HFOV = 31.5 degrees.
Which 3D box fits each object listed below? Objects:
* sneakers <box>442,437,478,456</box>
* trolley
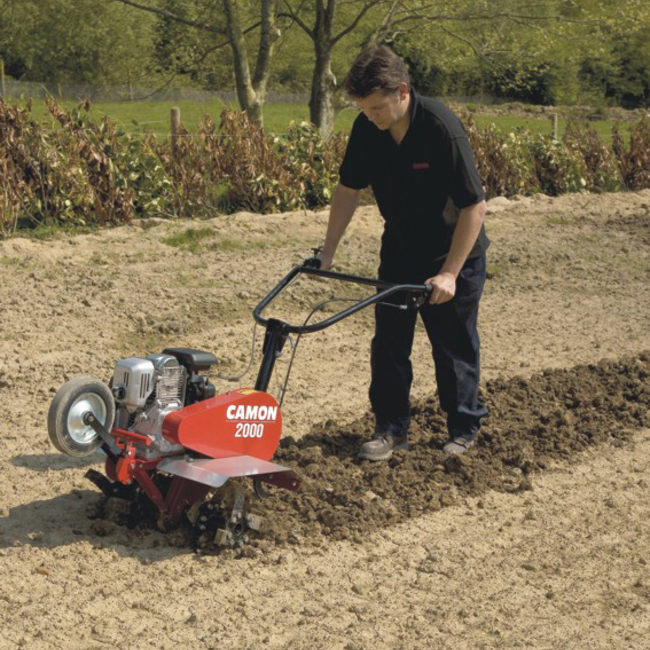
[{"bbox_3d":[0.867,0.798,7.475,0.086,0.089,0.223,-7,-2,31],"label":"sneakers"},{"bbox_3d":[-0.432,0.444,6.580,1.268,1.162,1.932,20,26,40],"label":"trolley"}]
